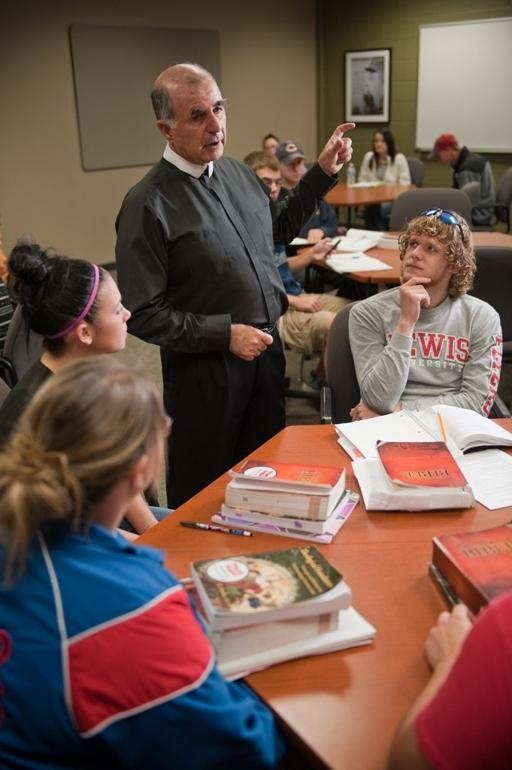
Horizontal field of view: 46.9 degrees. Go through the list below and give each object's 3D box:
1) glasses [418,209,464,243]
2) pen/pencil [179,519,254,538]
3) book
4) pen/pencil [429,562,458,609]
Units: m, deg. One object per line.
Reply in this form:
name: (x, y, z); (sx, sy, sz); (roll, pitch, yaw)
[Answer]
glasses: (0.665, -0.563, 2.026); (0.125, 0.120, 0.041); (18, 45, 28)
pen/pencil: (-0.078, 0.296, 1.210); (0.138, 0.013, 0.013); (7, -12, 9)
book: (0.070, 0.276, 0.856); (0.302, 0.066, 0.295); (-6, 21, 2)
pen/pencil: (0.320, 0.343, 1.003); (0.013, 0.020, 0.091); (33, 19, -28)
